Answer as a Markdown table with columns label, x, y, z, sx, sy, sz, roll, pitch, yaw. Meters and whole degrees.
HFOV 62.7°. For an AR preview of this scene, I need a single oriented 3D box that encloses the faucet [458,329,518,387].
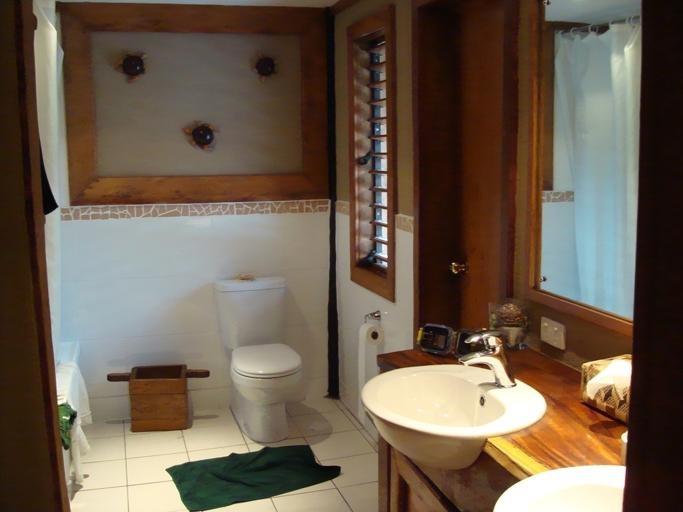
| label | x | y | z | sx | sy | sz | roll | pitch | yaw |
| --- | --- | --- | --- | --- | --- | --- | --- | --- | --- |
| faucet | 0.380 | 0.292 | 1.584 | 0.249 | 0.194 | 0.089 | 5 | -6 | -36 |

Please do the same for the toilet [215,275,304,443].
| label | x | y | z | sx | sy | sz | roll | pitch | yaw |
| --- | --- | --- | --- | --- | --- | --- | --- | --- | --- |
| toilet | -0.506 | 0.616 | 3.449 | 0.507 | 0.888 | 0.656 | -2 | 9 | -13 |

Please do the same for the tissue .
| label | x | y | z | sx | sy | sz | roll | pitch | yaw |
| --- | --- | --- | --- | --- | --- | --- | --- | --- | --- |
| tissue  | 0.703 | 0.349 | 1.476 | 0.097 | 0.135 | 0.170 | 1 | 9 | 8 |
